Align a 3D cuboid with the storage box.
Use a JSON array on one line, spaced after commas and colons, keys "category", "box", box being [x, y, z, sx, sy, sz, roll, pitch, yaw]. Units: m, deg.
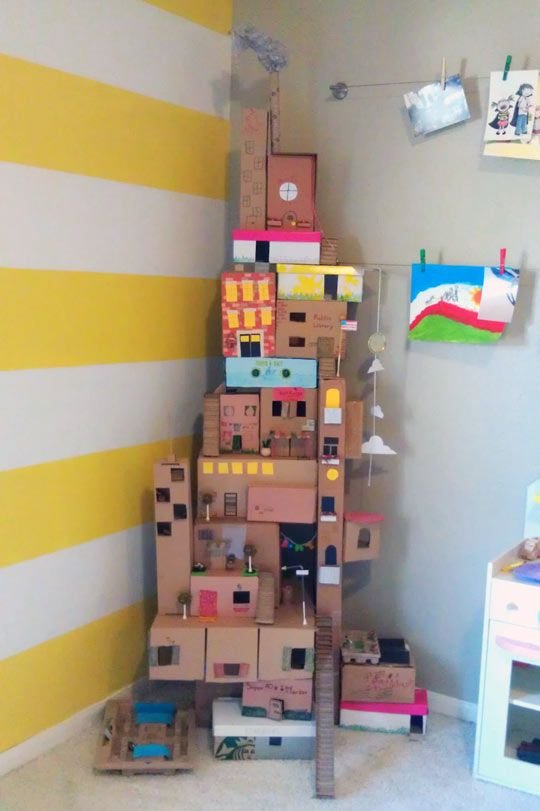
[{"category": "storage box", "box": [0.092, 0.113, 2.819, 1.132, 2.563, 0.834, 1, 11, -10]}]
